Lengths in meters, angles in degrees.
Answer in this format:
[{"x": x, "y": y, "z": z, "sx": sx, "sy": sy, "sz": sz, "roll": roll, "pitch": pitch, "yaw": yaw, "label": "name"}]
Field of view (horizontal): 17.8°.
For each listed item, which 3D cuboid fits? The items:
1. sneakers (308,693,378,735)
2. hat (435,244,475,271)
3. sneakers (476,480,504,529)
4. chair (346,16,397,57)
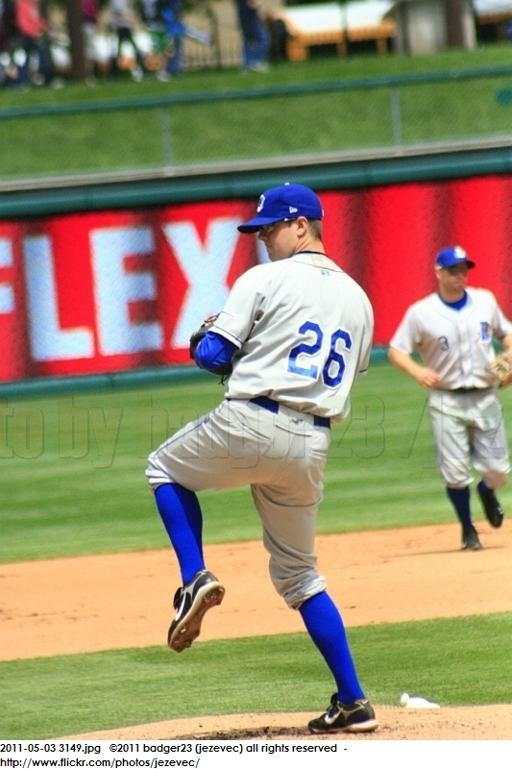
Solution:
[{"x": 0.426, "y": 1.589, "z": 7.836, "sx": 0.384, "sy": 0.190, "sz": 0.132, "roll": -5, "pitch": -14, "yaw": 21, "label": "sneakers"}, {"x": 1.173, "y": -0.749, "z": 9.740, "sx": 0.148, "sy": 0.106, "sz": 0.197, "roll": -1, "pitch": 6, "yaw": -26, "label": "hat"}, {"x": 1.462, "y": 0.729, "z": 9.944, "sx": 0.118, "sy": 0.333, "sz": 0.127, "roll": -27, "pitch": 16, "yaw": -32, "label": "sneakers"}, {"x": 1.725, "y": -5.135, "z": 24.123, "sx": 0.614, "sy": 0.528, "sz": 0.475, "roll": 7, "pitch": 7, "yaw": 22, "label": "chair"}]
